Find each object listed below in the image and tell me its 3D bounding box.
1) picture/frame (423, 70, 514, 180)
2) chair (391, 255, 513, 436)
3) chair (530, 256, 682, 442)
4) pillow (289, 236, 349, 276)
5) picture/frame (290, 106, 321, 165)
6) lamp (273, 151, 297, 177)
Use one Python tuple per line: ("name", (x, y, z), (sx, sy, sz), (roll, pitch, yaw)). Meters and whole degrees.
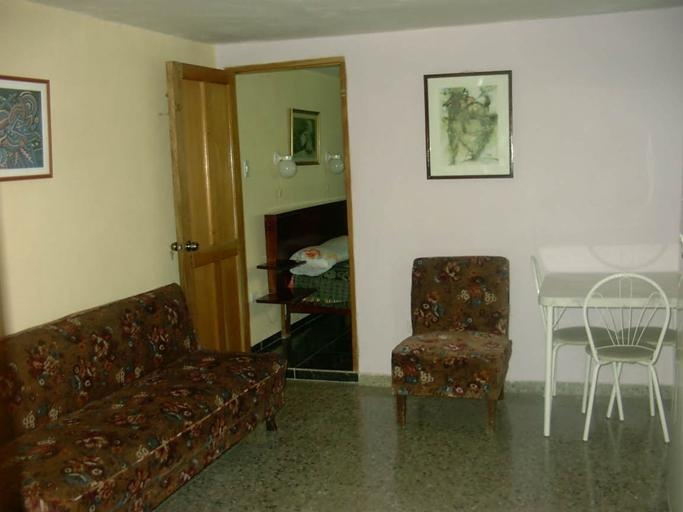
("picture/frame", (0.979, -1.014, 4.239), (0.828, 0.975, 0.049), (0, 10, 15))
("chair", (0.795, 0.585, 4.001), (0.755, 1.044, 0.820), (1, 12, 17))
("chair", (1.816, 0.555, 3.832), (0.996, 1.083, 0.866), (0, 12, 12))
("pillow", (-0.186, 0.019, 5.701), (0.516, 0.128, 0.320), (-26, 37, -19))
("picture/frame", (-0.417, -1.325, 6.172), (0.036, 0.700, 0.837), (4, 7, 22))
("lamp", (-0.519, -0.852, 5.341), (0.291, 0.274, 0.189), (2, 13, 10))
